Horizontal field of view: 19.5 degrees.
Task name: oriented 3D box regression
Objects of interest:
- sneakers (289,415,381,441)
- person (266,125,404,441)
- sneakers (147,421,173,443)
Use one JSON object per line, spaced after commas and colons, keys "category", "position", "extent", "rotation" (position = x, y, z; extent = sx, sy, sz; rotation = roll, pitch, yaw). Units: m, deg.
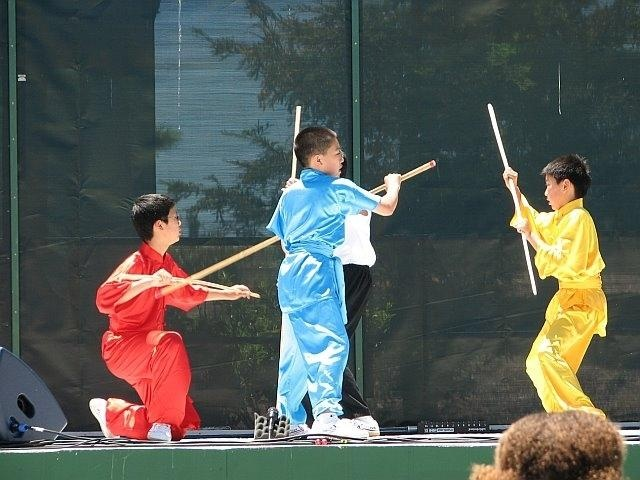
{"category": "sneakers", "position": [0.139, 1.145, 11.562], "extent": [0.615, 0.210, 0.191], "rotation": [-2, -3, -24]}
{"category": "person", "position": [0.063, 0.254, 11.597], "extent": [0.831, 1.960, 0.381], "rotation": [-5, -3, 4]}
{"category": "sneakers", "position": [-0.999, 1.188, 11.500], "extent": [0.149, 0.117, 0.065], "rotation": [-4, -3, -5]}
